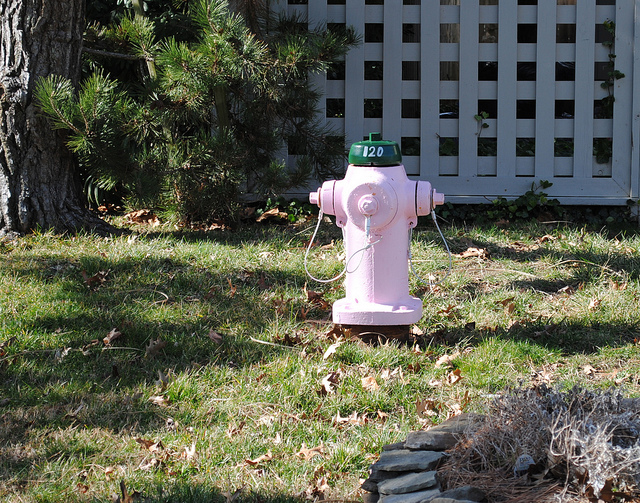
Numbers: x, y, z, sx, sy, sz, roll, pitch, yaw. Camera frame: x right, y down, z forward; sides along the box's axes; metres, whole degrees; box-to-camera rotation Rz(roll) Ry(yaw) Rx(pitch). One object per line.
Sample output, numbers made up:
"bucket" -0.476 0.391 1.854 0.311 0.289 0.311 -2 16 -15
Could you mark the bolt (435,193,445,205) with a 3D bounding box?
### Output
"bolt" 0.792 -0.347 6.491 0.060 0.080 0.053 2 6 4
